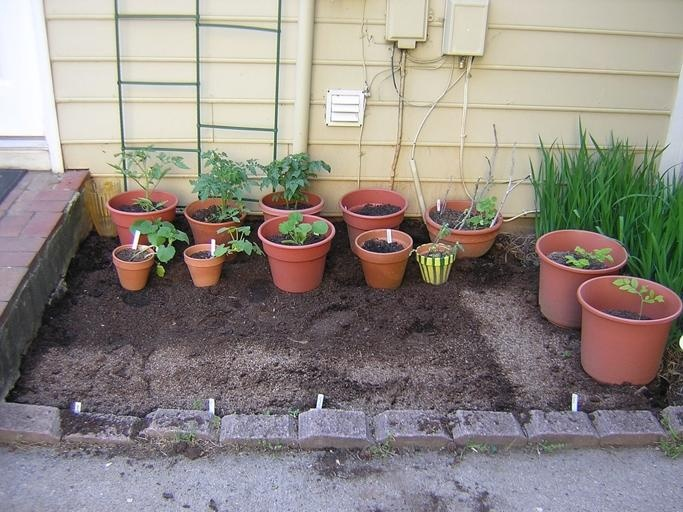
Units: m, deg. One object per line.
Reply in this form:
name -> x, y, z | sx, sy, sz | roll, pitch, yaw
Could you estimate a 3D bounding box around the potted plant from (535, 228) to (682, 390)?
potted plant -> 1.527, 0.289, 2.989 | 0.540, 0.428, 0.947 | -12, 29, -2
